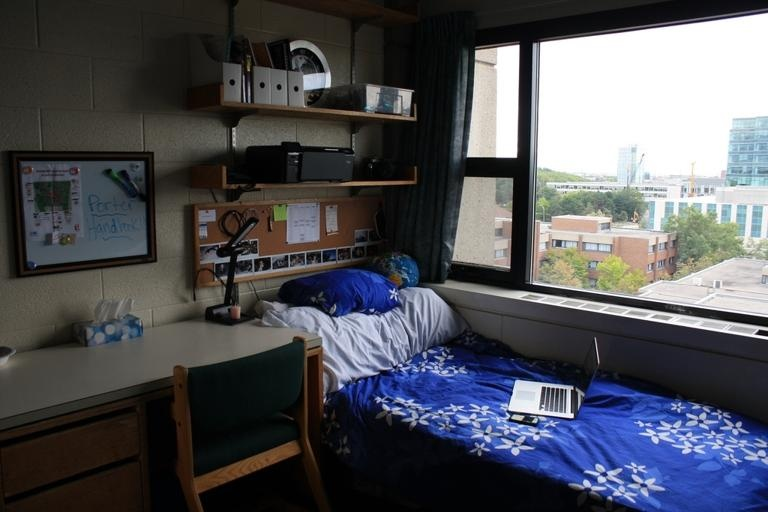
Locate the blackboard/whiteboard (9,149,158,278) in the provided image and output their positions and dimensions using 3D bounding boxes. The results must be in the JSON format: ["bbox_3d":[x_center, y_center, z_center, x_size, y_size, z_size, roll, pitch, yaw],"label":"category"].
[{"bbox_3d":[-1.529,-0.219,2.730,0.696,0.607,0.047,-4,5,-39],"label":"blackboard/whiteboard"}]

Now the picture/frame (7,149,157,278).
[{"bbox_3d":[-1.534,-0.218,2.727,0.695,0.607,0.050,-4,5,-39],"label":"picture/frame"}]

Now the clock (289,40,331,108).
[{"bbox_3d":[-0.513,-1.141,3.465,0.085,0.341,0.363,4,9,36],"label":"clock"}]

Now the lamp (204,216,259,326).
[{"bbox_3d":[-0.837,0.072,3.106,0.361,0.583,0.273,-8,14,-36],"label":"lamp"}]

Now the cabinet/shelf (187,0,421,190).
[{"bbox_3d":[-0.462,-0.951,3.258,1.301,1.138,0.479,-11,15,-44],"label":"cabinet/shelf"}]

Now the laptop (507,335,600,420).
[{"bbox_3d":[0.863,0.612,2.856,0.480,0.292,0.498,10,13,39],"label":"laptop"}]

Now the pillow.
[{"bbox_3d":[-0.034,0.435,3.256,0.582,0.223,0.859,12,17,43],"label":"pillow"}]
